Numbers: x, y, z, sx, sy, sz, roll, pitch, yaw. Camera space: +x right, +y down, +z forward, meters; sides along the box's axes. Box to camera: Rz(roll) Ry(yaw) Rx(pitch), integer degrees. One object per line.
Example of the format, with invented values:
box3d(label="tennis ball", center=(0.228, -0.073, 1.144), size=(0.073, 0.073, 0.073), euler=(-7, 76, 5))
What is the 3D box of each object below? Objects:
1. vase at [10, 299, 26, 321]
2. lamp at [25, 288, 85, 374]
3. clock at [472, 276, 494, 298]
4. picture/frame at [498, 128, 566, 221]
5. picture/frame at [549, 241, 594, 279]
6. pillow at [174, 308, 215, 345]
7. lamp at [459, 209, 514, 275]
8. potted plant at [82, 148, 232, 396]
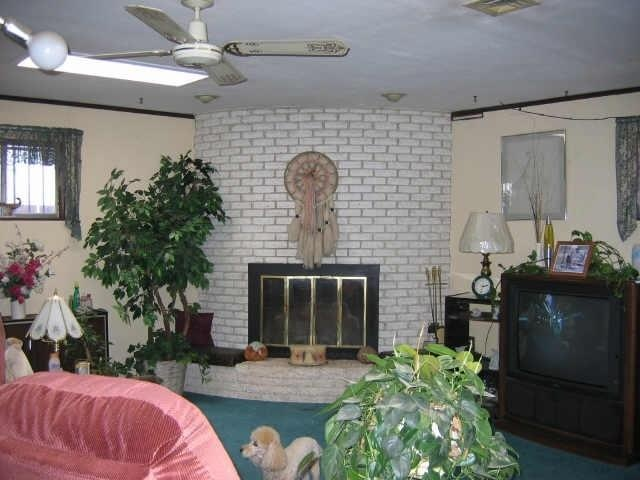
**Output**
box3d(label="vase", center=(-2.689, 0.623, 4.557), size=(0.150, 0.173, 0.151), euler=(-1, 5, -13))
box3d(label="lamp", center=(-1.680, 0.607, 3.252), size=(0.291, 0.508, 0.299), euler=(3, 3, 0))
box3d(label="clock", center=(1.545, 0.444, 4.794), size=(0.112, 0.202, 0.230), euler=(1, 0, -35))
box3d(label="picture/frame", center=(2.132, -0.640, 5.123), size=(0.103, 0.860, 0.630), euler=(1, 0, -44))
box3d(label="picture/frame", center=(1.929, 0.137, 3.929), size=(0.255, 0.295, 0.018), euler=(4, 33, 13))
box3d(label="pillow", center=(-1.317, 0.909, 5.310), size=(0.425, 0.420, 0.155), euler=(4, -1, -6))
box3d(label="lamp", center=(1.591, 0.070, 4.891), size=(0.510, 0.600, 0.513), euler=(6, -5, -30))
box3d(label="potted plant", center=(-1.638, 0.260, 4.992), size=(1.131, 2.399, 1.353), euler=(1, 0, 34))
